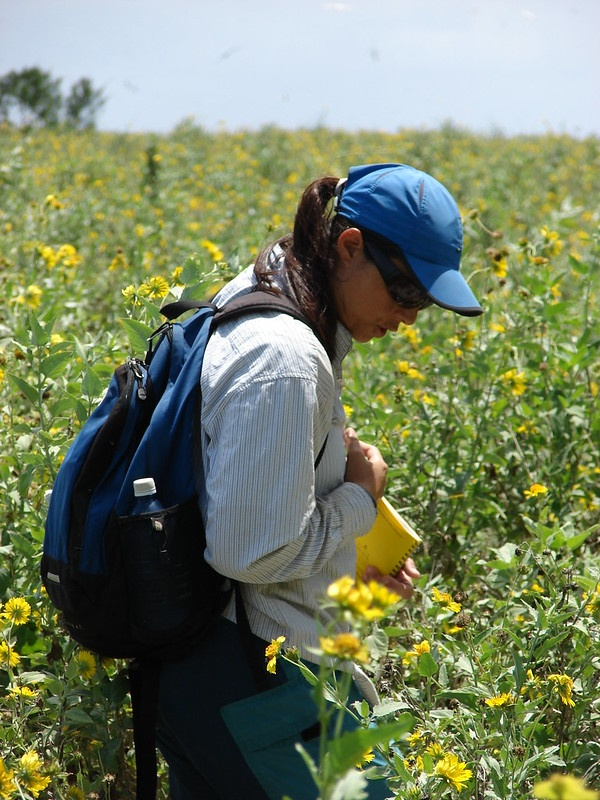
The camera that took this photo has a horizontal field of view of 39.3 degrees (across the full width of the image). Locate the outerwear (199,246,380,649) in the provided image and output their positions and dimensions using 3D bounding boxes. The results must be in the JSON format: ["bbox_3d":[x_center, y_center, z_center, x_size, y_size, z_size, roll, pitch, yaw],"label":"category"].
[{"bbox_3d":[-0.021,0.121,1.649,0.322,0.691,0.446,-4,23,4],"label":"outerwear"}]

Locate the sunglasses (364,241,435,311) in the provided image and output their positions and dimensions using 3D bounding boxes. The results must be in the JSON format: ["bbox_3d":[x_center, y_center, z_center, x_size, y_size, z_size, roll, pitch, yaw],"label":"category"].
[{"bbox_3d":[0.181,-0.238,1.674,0.038,0.139,0.104,-43,-1,5],"label":"sunglasses"}]
